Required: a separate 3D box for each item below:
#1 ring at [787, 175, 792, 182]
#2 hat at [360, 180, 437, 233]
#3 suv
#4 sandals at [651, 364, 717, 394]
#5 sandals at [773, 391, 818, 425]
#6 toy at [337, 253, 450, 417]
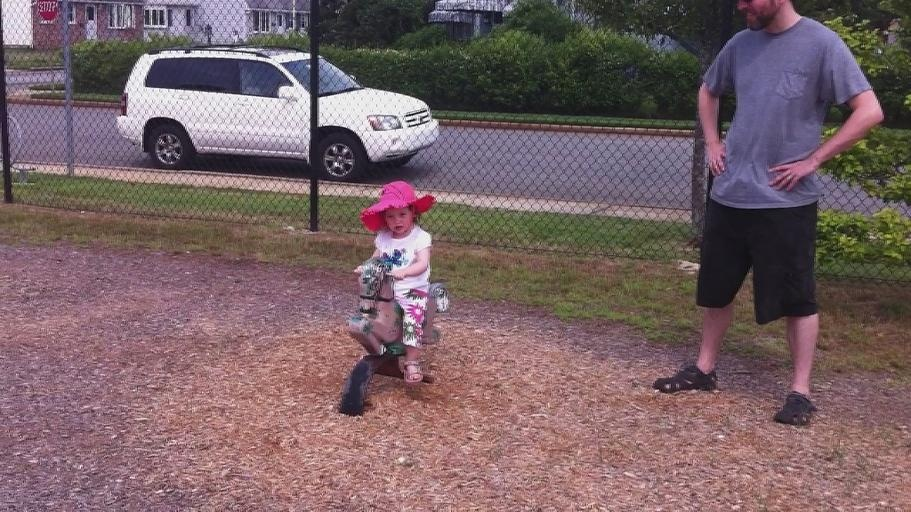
[{"bbox_3d":[2.578,-0.600,6.920,0.030,0.037,0.014,5,4,7],"label":"ring"},{"bbox_3d":[-0.453,-0.429,7.242,0.471,0.193,0.470,-19,-3,14],"label":"hat"},{"bbox_3d":[-3.062,-2.352,14.790,4.905,1.970,1.479,9,19,20],"label":"suv"},{"bbox_3d":[1.885,1.016,7.439,0.579,0.227,0.200,2,0,-4],"label":"sandals"},{"bbox_3d":[2.665,1.188,7.053,0.175,0.160,0.394,-1,3,34],"label":"sandals"},{"bbox_3d":[-0.584,0.610,7.023,0.685,0.813,1.404,6,17,26],"label":"toy"}]
